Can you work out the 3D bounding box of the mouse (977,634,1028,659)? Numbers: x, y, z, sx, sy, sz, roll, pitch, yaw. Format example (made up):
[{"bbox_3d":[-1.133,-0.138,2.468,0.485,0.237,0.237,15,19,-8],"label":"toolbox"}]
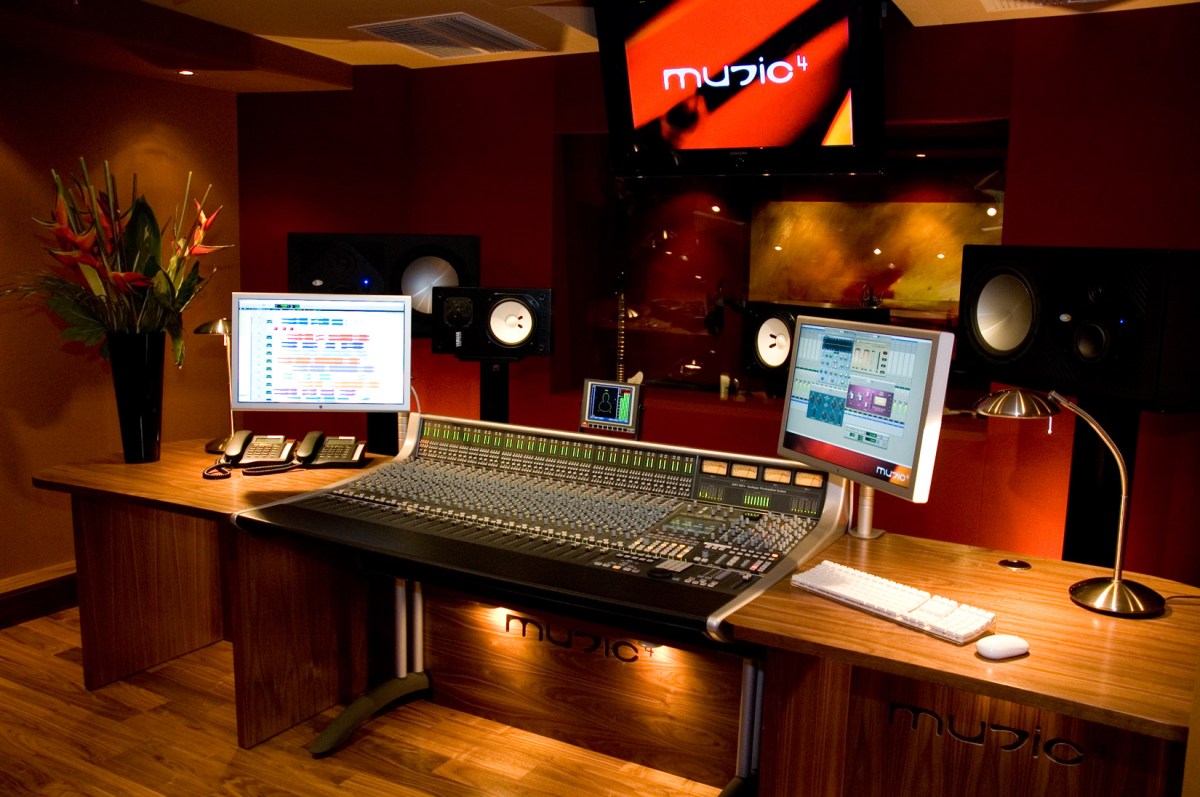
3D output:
[{"bbox_3d":[1.056,0.648,2.275,0.098,0.028,0.066,-1,8,-10],"label":"mouse"}]

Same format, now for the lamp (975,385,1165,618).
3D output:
[{"bbox_3d":[1.467,0.286,2.628,0.490,0.618,0.721,10,10,40],"label":"lamp"}]

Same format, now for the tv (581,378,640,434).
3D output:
[{"bbox_3d":[0.043,0.032,3.274,0.212,0.176,0.105,7,8,28],"label":"tv"}]
